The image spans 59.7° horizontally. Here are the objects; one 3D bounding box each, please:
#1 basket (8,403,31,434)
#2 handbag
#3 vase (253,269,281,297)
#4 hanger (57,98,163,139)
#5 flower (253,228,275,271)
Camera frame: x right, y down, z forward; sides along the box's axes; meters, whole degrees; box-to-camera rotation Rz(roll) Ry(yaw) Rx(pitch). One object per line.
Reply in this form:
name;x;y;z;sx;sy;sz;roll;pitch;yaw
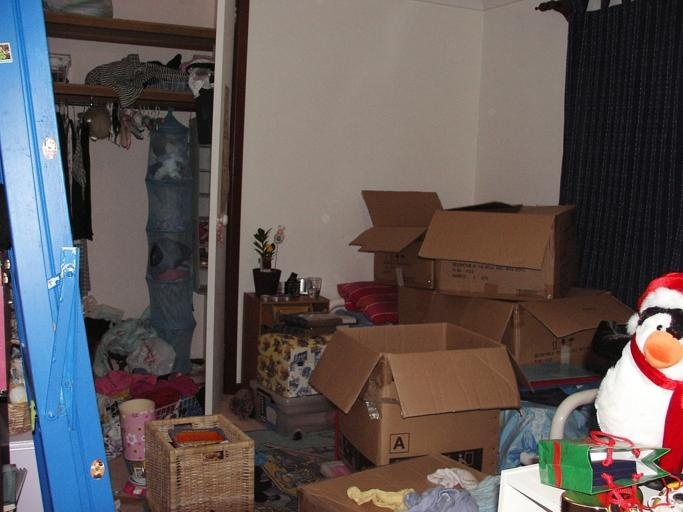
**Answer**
basket;-1.057;0.530;1.943;0.062;0.102;0.041;-4;7;-32
handbag;0.594;0.437;1.360;0.197;0.091;0.157;0;0;-17
vase;-0.509;0.175;3.980;0.178;0.178;0.199;1;6;5
hanger;-1.604;-0.913;4.291;0.330;0.170;0.478;-1;3;38
flower;-0.529;-0.052;4.074;0.162;0.280;0.274;0;6;-6
